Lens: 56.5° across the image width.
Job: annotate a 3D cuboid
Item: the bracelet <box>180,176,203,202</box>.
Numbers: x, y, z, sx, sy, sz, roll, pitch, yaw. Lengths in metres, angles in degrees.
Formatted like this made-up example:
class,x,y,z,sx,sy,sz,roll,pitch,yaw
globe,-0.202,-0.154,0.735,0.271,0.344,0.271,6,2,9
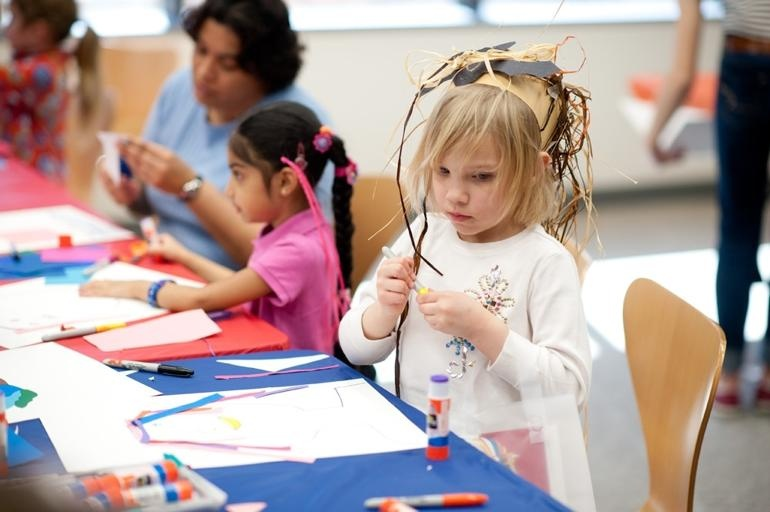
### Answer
class,x,y,z,sx,sy,sz,roll,pitch,yaw
bracelet,-0.546,-0.193,2.063,0.026,0.057,0.067,41,77,19

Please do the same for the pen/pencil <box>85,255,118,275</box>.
class,x,y,z,sx,sy,sz,roll,pitch,yaw
pen/pencil,-0.737,0.020,1.854,0.023,0.014,0.082,19,41,21

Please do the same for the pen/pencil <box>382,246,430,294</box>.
class,x,y,z,sx,sy,sz,roll,pitch,yaw
pen/pencil,0.045,0.034,1.518,0.027,0.124,0.024,-45,8,23

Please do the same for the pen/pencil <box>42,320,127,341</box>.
class,x,y,z,sx,sy,sz,roll,pitch,yaw
pen/pencil,-0.657,0.164,1.555,0.158,0.016,0.018,-7,-18,-24

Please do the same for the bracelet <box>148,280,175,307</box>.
class,x,y,z,sx,sy,sz,roll,pitch,yaw
bracelet,-0.525,0.087,1.711,0.022,0.056,0.057,26,-21,-2
